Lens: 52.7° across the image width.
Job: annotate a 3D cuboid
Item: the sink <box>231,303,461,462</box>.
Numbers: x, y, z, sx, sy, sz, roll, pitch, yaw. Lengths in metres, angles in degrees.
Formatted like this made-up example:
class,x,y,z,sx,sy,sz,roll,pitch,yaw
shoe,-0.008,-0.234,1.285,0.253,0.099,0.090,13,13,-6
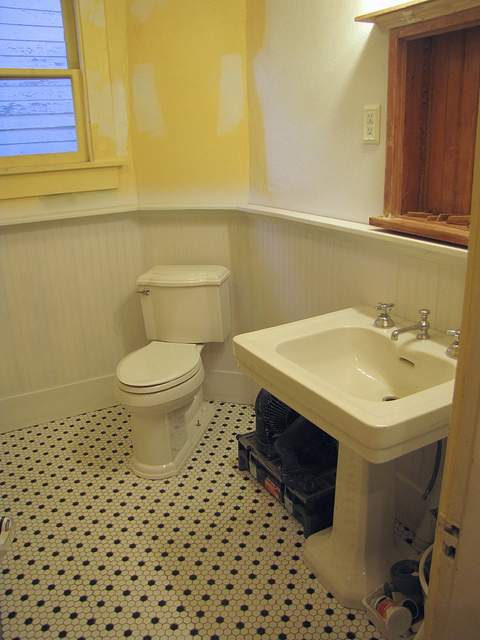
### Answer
class,x,y,z,sx,sy,sz,roll,pitch,yaw
sink,0.344,0.143,1.356,0.516,0.174,0.647,-15,23,-25

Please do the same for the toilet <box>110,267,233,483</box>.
class,x,y,z,sx,sy,sz,roll,pitch,yaw
toilet,-0.329,0.205,2.208,0.440,0.777,0.712,3,22,19

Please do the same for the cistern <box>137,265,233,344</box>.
class,x,y,z,sx,sy,sz,roll,pitch,yaw
cistern,-0.255,-0.082,2.329,0.416,0.346,0.264,3,21,16

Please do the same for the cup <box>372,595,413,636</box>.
class,x,y,z,sx,sy,sz,roll,pitch,yaw
cup,0.406,0.753,1.270,0.089,0.081,0.104,-6,21,-4
